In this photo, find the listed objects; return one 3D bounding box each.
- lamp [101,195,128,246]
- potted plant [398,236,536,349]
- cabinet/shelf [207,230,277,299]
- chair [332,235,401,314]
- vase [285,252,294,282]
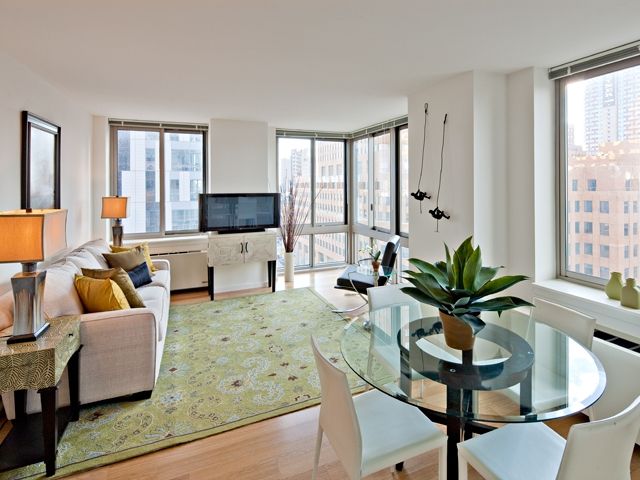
[{"bbox_3d":[-2.672,-0.182,5.780,0.358,0.753,0.318,-1,0,-19],"label":"lamp"},{"bbox_3d":[0.848,0.381,2.801,0.755,0.719,0.868,-6,17,3],"label":"potted plant"},{"bbox_3d":[-1.169,0.344,6.338,0.901,0.871,0.357,-2,3,-31],"label":"cabinet/shelf"},{"bbox_3d":[0.645,0.419,5.744,0.809,0.899,0.780,4,12,25],"label":"chair"},{"bbox_3d":[-0.510,0.439,7.052,0.146,0.422,0.321,-2,15,-5],"label":"vase"}]
